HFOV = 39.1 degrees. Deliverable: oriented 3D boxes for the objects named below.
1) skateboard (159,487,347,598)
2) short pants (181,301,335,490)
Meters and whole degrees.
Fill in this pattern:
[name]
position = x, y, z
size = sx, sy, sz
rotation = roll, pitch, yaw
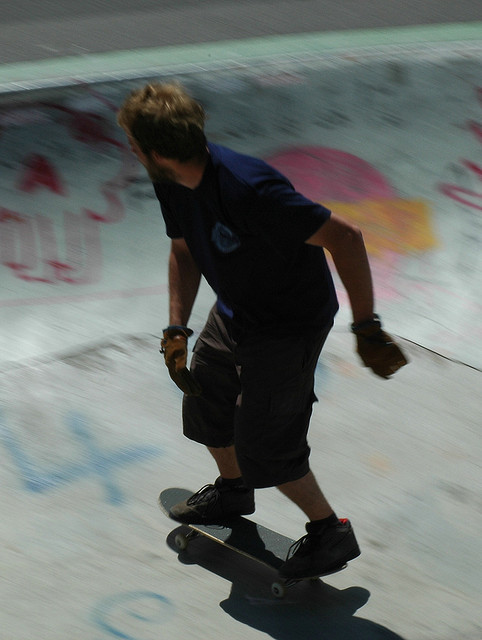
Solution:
[skateboard]
position = -0.086, 0.748, 2.432
size = 0.930, 0.127, 0.220
rotation = 16, 27, 35
[short pants]
position = 0.032, 0.227, 2.228
size = 0.293, 0.558, 0.531
rotation = -17, 25, -39
